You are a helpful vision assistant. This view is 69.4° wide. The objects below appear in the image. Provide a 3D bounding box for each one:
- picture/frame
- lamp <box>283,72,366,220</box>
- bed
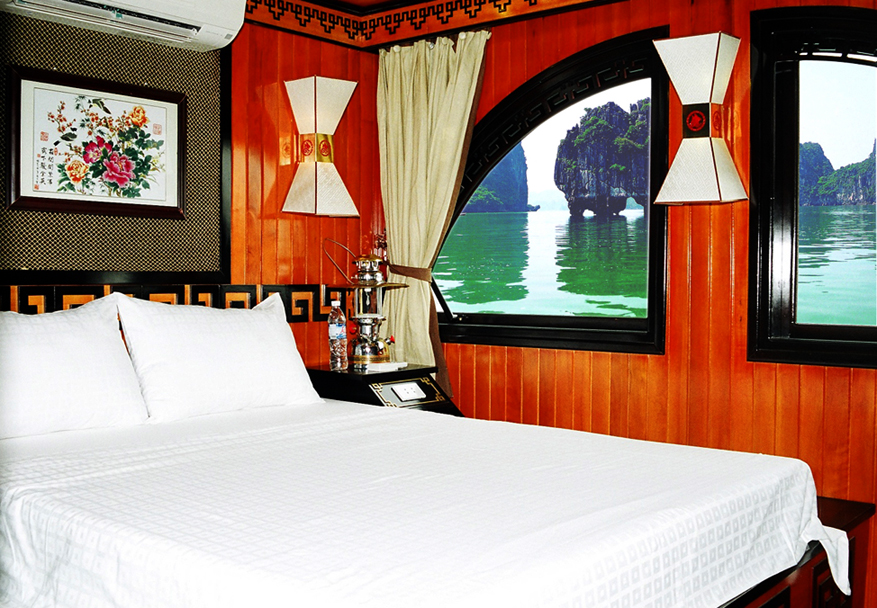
[{"bbox_3d":[-1.768,-0.821,3.200,0.864,0.673,0.032,-2,5,-43],"label":"picture/frame"},{"bbox_3d":[-0.701,-0.916,3.723,0.431,0.779,0.225,-1,5,-16],"label":"lamp"},{"bbox_3d":[0.069,0.466,2.522,2.016,0.787,1.561,-2,-3,33],"label":"bed"}]
